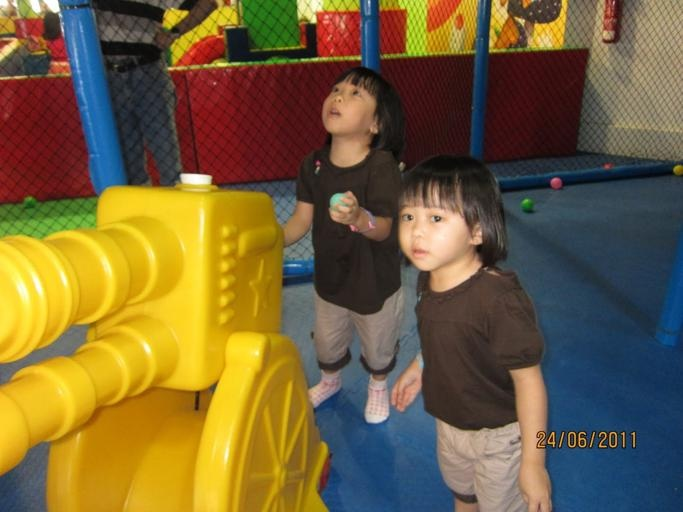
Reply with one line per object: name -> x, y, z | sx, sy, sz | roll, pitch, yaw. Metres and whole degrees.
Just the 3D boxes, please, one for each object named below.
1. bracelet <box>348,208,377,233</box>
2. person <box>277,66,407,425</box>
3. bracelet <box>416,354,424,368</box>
bracelet -> 0.055, -0.084, 1.381 | 0.047, 0.067, 0.028 | -3, -5, 6
person -> 0.002, -0.014, 1.635 | 0.357, 1.039, 0.702 | 3, 19, 11
bracelet -> 0.190, 0.257, 1.324 | 0.020, 0.037, 0.010 | 11, 11, 20
